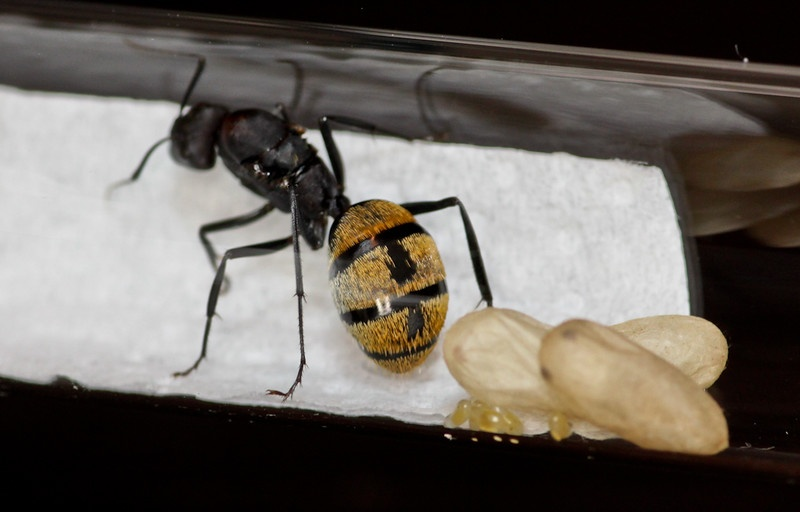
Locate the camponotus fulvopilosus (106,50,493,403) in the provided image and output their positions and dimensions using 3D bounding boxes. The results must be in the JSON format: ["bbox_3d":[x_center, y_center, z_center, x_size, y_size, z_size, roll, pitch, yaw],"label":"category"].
[{"bbox_3d":[-0.219,-0.019,1.842,0.744,0.246,0.544,39,53,19],"label":"camponotus fulvopilosus"}]
